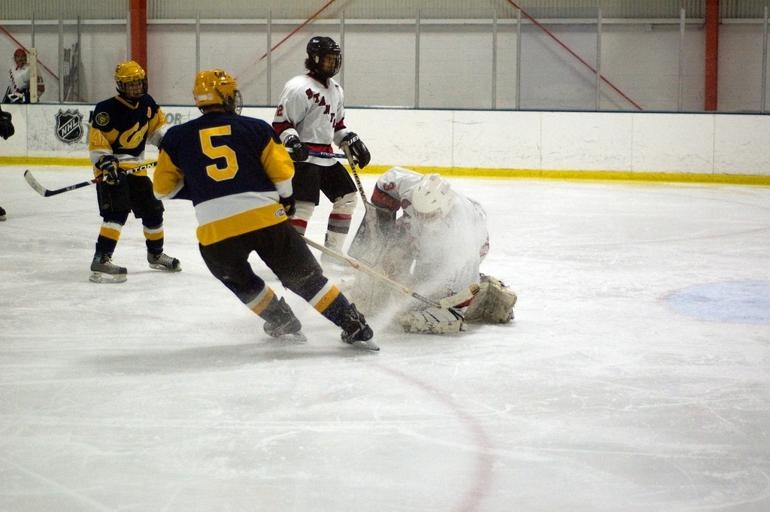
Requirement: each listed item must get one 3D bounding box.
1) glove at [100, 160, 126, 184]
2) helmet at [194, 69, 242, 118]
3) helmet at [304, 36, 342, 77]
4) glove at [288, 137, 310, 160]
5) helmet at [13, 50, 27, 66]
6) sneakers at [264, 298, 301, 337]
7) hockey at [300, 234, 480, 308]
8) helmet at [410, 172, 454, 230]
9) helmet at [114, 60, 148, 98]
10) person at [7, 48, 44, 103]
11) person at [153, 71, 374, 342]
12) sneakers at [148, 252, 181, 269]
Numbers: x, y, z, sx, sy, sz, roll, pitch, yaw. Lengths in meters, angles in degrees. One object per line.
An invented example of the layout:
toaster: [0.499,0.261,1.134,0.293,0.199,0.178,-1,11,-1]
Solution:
glove: [-1.894,-0.579,5.870,0.147,0.170,0.225,-3,9,-17]
helmet: [-0.937,-0.890,4.698,0.239,0.244,0.295,8,16,25]
helmet: [-0.441,-1.386,5.951,0.234,0.282,0.203,-2,9,-7]
glove: [-0.579,-0.717,5.735,0.071,0.157,0.121,-31,8,28]
helmet: [-5.728,-3.100,13.349,0.165,0.288,0.528,-4,9,-23]
sneakers: [-0.587,0.347,4.808,0.274,0.227,0.152,-2,11,-15]
hockey: [0.065,0.095,4.941,0.857,0.081,0.122,25,33,8]
helmet: [0.271,-0.317,4.862,0.225,0.294,0.112,42,30,7]
helmet: [-1.747,-1.204,5.838,0.185,0.245,0.183,-3,9,-17]
person: [-5.741,-2.792,13.462,0.558,0.851,1.693,-4,9,-23]
person: [-0.686,-0.136,4.608,1.124,1.252,0.265,-1,9,-1]
sneakers: [-1.590,0.036,6.220,0.286,0.111,0.095,1,15,1]
